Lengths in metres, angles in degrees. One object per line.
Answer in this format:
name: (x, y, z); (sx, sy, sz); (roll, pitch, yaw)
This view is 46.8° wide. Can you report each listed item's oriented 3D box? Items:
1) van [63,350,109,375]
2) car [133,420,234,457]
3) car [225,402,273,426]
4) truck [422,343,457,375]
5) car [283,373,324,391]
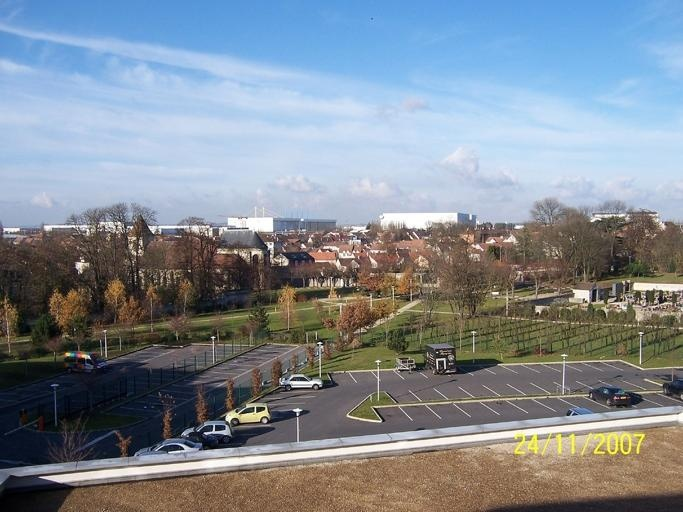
van: (-15.205, 6.332, 46.764); (1.992, 1.090, 1.198); (0, 3, 5)
car: (-6.458, 7.670, 33.022); (2.260, 0.940, 4.356); (-4, -3, 25)
car: (-4.341, 7.394, 37.021); (1.607, 0.761, 1.033); (2, -4, 0)
truck: (5.606, 5.805, 44.795); (1.071, 1.193, 1.899); (0, 2, -6)
car: (-1.989, 6.719, 42.019); (1.713, 0.657, 0.894); (-3, 5, 4)
